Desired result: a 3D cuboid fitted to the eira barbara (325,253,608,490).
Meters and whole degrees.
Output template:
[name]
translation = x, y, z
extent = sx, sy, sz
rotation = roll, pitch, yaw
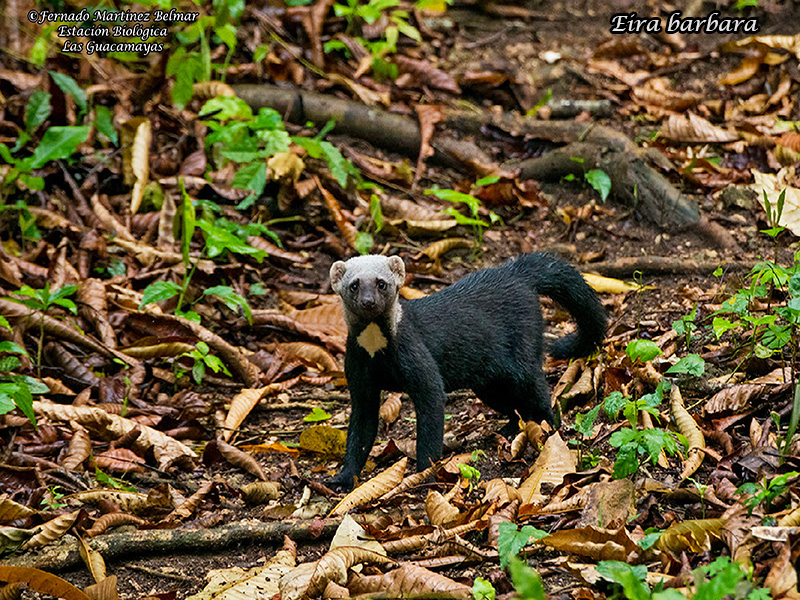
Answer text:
[eira barbara]
translation = 0.462, 0.370, 6.433
extent = 2.596, 1.495, 0.793
rotation = -10, 12, -41
